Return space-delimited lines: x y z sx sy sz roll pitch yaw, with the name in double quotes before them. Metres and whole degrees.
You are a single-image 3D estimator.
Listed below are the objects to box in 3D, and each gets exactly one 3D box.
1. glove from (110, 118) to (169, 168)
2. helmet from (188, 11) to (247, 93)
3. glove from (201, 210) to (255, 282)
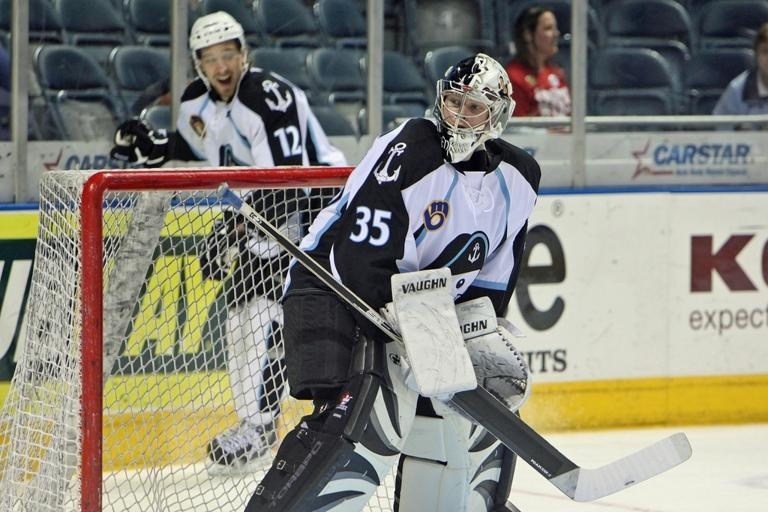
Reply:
"glove" -1.224 -0.554 7.834 0.250 0.114 0.257 13 -41 -16
"helmet" -0.882 -1.019 7.720 0.257 0.368 0.359 -17 8 1
"glove" -0.793 -0.069 7.853 0.211 0.365 0.091 28 20 11
